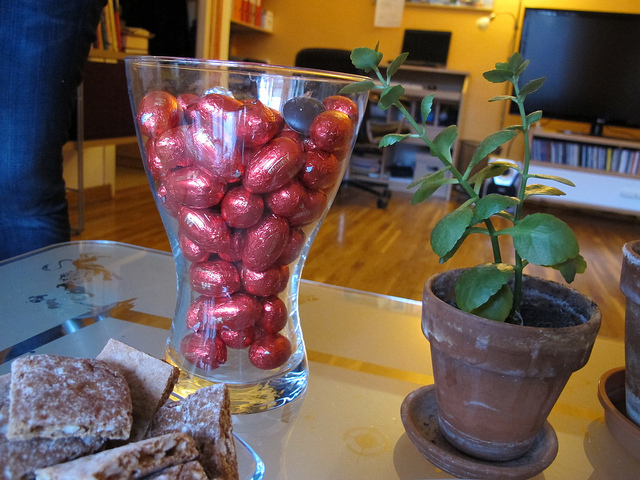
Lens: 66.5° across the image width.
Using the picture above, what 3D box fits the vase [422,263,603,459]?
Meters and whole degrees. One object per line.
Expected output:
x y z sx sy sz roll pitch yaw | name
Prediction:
0.181 0.133 0.518 0.170 0.161 0.178 10 13 17 | vase

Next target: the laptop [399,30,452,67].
0.859 -1.645 4.243 0.447 0.310 0.265 20 30 35 | laptop

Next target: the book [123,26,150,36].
-1.066 -1.208 2.835 0.112 0.028 0.108 -1 12 -23 | book

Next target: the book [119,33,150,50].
-1.069 -1.140 2.796 0.152 0.038 0.153 -5 18 -19 | book
